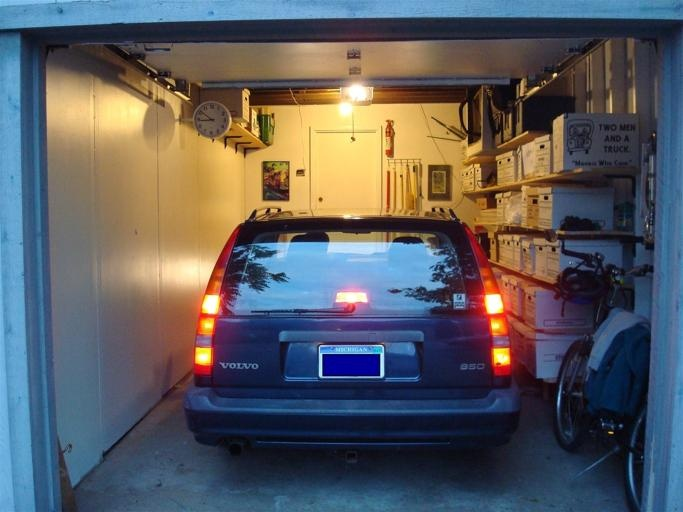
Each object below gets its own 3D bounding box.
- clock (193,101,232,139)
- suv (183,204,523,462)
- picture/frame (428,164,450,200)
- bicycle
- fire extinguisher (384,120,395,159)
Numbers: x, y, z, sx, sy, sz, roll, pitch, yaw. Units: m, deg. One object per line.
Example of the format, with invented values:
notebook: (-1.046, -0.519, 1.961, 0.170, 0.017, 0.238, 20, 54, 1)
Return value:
clock: (-1.433, -1.483, 6.869, 0.517, 0.574, 0.180, -1, 1, -6)
suv: (0.064, 0.464, 3.794, 1.083, 0.971, 2.052, 1, 8, 2)
picture/frame: (1.547, -1.200, 10.055, 0.502, 0.757, 0.070, 0, 1, -3)
bicycle: (1.755, 0.784, 4.690, 0.666, 0.965, 1.537, 4, 1, 15)
fire extinguisher: (0.763, -1.844, 9.959, 0.152, 0.618, 0.245, 0, 9, 3)
